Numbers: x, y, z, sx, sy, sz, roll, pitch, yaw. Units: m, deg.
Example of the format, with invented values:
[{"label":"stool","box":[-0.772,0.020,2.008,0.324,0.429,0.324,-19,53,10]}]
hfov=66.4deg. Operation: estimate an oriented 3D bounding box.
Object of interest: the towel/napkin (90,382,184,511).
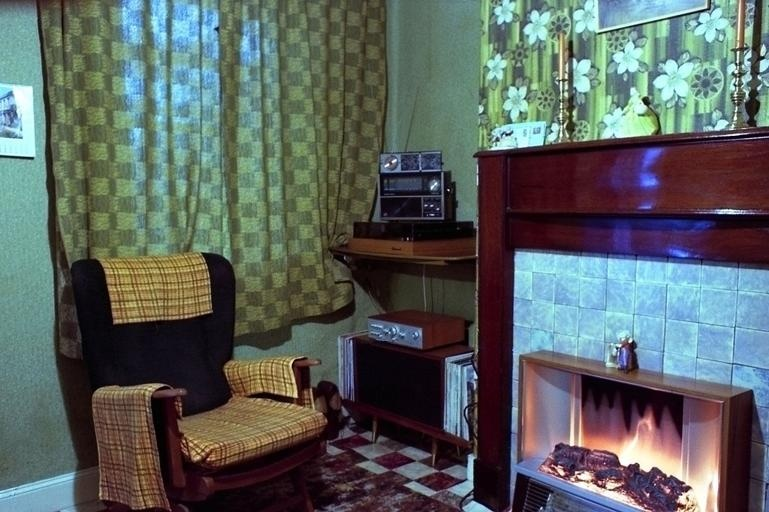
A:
[{"label":"towel/napkin","box":[-1.162,0.861,2.719,0.453,0.574,0.177,6,13,21]}]

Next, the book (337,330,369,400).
[{"label":"book","box":[-0.232,0.724,3.883,0.270,0.366,0.106,1,-1,-42]}]

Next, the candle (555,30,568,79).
[{"label":"candle","box":[0.896,-1.010,2.963,0.072,0.262,0.249,5,12,15]}]

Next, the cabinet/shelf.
[{"label":"cabinet/shelf","box":[0.107,0.625,3.669,0.543,1.177,1.204,-7,9,-41]}]

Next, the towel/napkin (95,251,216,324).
[{"label":"towel/napkin","box":[-1.227,0.137,3.153,0.705,0.492,0.311,-3,-6,-32]}]
